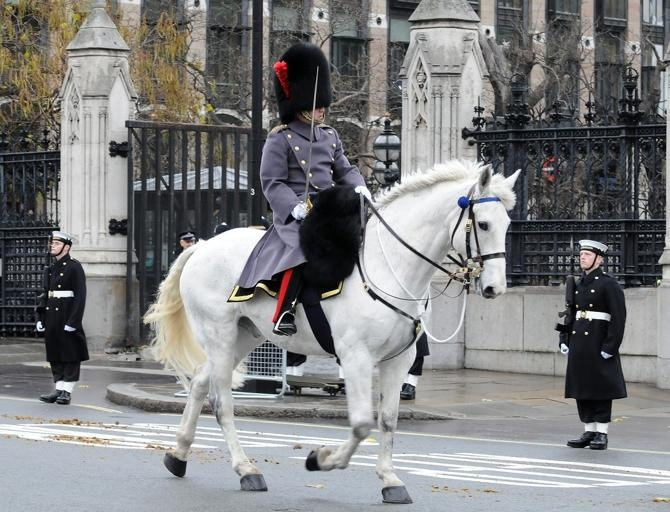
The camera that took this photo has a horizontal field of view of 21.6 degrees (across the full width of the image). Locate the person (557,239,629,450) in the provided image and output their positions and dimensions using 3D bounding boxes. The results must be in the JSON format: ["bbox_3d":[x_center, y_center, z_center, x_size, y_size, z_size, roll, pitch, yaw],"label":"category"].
[{"bbox_3d":[3.638,1.214,24.962,0.953,2.829,1.476,0,3,3],"label":"person"}]

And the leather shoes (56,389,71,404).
[{"bbox_3d":[-4.271,2.216,27.578,0.183,0.187,0.256,0,3,0],"label":"leather shoes"}]

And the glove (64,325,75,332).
[{"bbox_3d":[-4.265,1.160,28.201,0.121,0.060,0.112,0,-5,41],"label":"glove"}]

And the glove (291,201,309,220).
[{"bbox_3d":[-0.444,-0.548,21.637,0.200,0.211,0.179,28,4,39],"label":"glove"}]

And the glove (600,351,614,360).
[{"bbox_3d":[3.830,1.407,24.873,0.112,0.088,0.124,33,-15,-13],"label":"glove"}]

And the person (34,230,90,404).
[{"bbox_3d":[-4.409,0.948,28.300,0.811,2.625,1.486,0,3,-9],"label":"person"}]

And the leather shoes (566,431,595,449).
[{"bbox_3d":[3.350,2.557,24.420,0.476,0.180,0.166,5,-11,-21],"label":"leather shoes"}]

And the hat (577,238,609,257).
[{"bbox_3d":[3.734,-0.133,25.335,0.400,0.132,0.342,7,-3,-8],"label":"hat"}]

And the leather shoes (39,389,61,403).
[{"bbox_3d":[-4.544,2.213,27.699,0.435,0.166,0.154,2,-5,12],"label":"leather shoes"}]

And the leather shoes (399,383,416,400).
[{"bbox_3d":[1.133,2.141,27.771,0.242,0.247,0.601,-1,-11,9],"label":"leather shoes"}]

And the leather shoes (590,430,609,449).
[{"bbox_3d":[3.643,2.559,24.384,0.248,0.213,0.366,1,3,9],"label":"leather shoes"}]

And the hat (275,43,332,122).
[{"bbox_3d":[-0.417,-2.291,22.424,0.608,0.815,0.854,-16,26,-31],"label":"hat"}]

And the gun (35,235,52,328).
[{"bbox_3d":[-5.298,0.435,31.864,0.149,1.790,0.679,6,1,-26],"label":"gun"}]

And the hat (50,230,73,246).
[{"bbox_3d":[-4.456,-0.261,28.701,0.300,0.125,0.333,11,-7,19],"label":"hat"}]
